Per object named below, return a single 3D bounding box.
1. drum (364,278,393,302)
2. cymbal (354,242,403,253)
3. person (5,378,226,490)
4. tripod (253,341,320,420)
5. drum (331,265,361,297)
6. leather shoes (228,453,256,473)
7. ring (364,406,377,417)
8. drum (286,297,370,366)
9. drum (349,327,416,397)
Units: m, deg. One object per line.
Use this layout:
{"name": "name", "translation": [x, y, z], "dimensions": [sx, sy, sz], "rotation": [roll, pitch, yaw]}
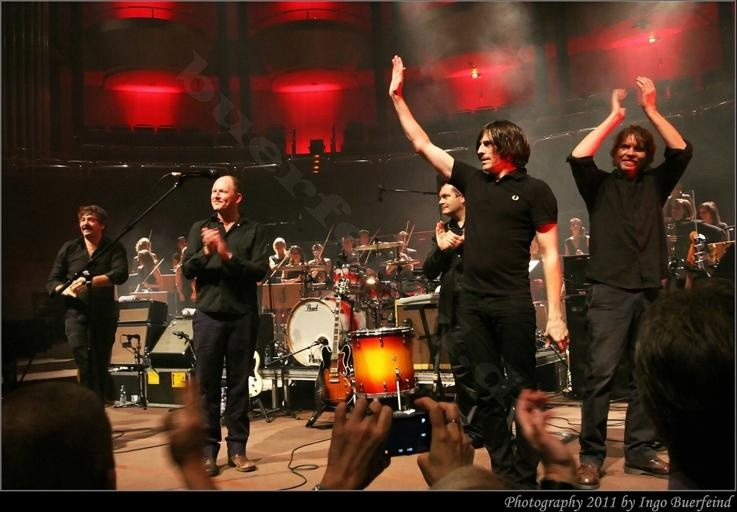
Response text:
{"name": "drum", "translation": [0.132, 0.422, 8.642], "dimensions": [0.331, 0.273, 0.248], "rotation": [20, -7, -8]}
{"name": "cymbal", "translation": [0.109, -0.111, 9.220], "dimensions": [0.290, 0.088, 0.292], "rotation": [-7, -2, 38]}
{"name": "person", "translation": [-1.656, 1.112, 4.311], "dimensions": [1.268, 0.689, 0.223], "rotation": [-2, -7, 1]}
{"name": "tripod", "translation": [-0.929, 1.487, 8.530], "dimensions": [1.185, 0.742, 0.796], "rotation": [-3, -21, 9]}
{"name": "drum", "translation": [-0.231, 0.311, 8.324], "dimensions": [0.377, 0.316, 0.593], "rotation": [0, 4, 2]}
{"name": "leather shoes", "translation": [-1.139, 1.876, 6.375], "dimensions": [0.121, 0.094, 0.267], "rotation": [7, -7, -45]}
{"name": "ring", "translation": [0.024, 0.993, 4.531], "dimensions": [0.089, 0.020, 0.080], "rotation": [16, -26, 0]}
{"name": "drum", "translation": [-0.626, 0.862, 8.508], "dimensions": [0.687, 0.611, 0.483], "rotation": [-3, 1, -13]}
{"name": "drum", "translation": [0.148, 1.135, 7.499], "dimensions": [0.714, 0.626, 0.683], "rotation": [-7, -12, -3]}
